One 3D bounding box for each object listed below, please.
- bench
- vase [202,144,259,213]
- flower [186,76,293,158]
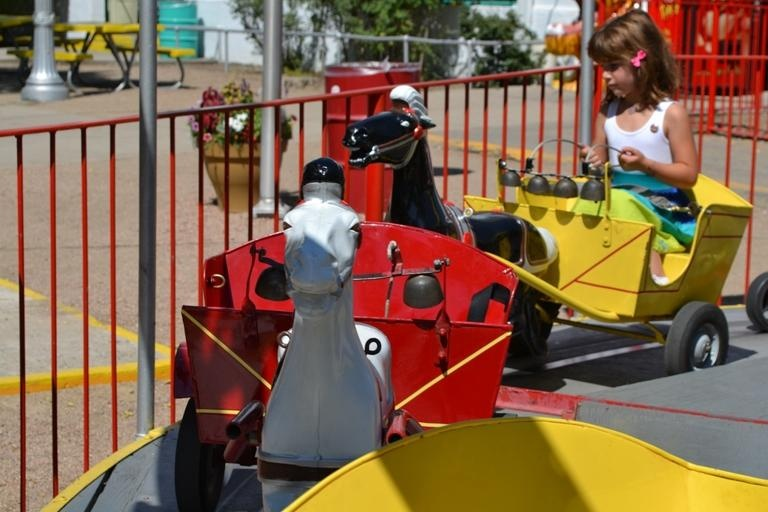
[{"bbox_3d":[-4.557,-3.188,24.266,2.675,0.923,5.028,-2,13,-9],"label":"bench"},{"bbox_3d":[-1.673,-0.887,16.854,0.781,0.745,0.775,1,1,-41],"label":"vase"},{"bbox_3d":[-1.687,-1.526,16.567,1.130,0.953,1.280,3,0,10],"label":"flower"}]
